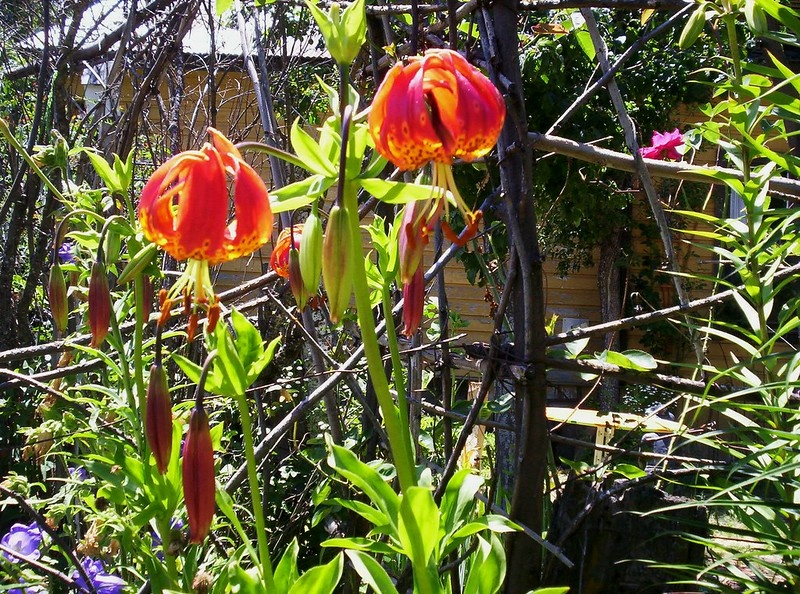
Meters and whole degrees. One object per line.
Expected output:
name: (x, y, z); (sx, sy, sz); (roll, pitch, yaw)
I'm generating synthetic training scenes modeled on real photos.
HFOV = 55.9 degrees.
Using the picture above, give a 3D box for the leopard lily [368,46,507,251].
leopard lily: (0.119, -0.347, 1.802); (0.276, 0.438, 0.321); (-4, -2, 5)

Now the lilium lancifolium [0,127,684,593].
lilium lancifolium: (-0.138, 0.184, 2.302); (2.041, 1.355, 1.018); (6, -10, -19)
